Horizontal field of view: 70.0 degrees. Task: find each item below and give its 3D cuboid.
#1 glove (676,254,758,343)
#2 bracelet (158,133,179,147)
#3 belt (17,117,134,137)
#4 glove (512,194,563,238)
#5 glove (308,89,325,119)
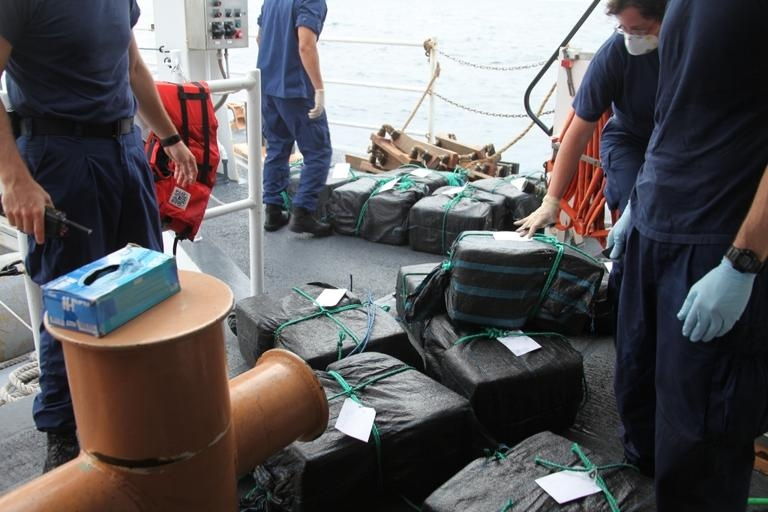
[{"bbox_3d":[1.164,0.156,1.923,0.171,0.295,0.120,23,33,28],"label":"glove"},{"bbox_3d":[-1.119,-0.599,2.856,0.070,0.036,0.071,-11,21,10],"label":"bracelet"},{"bbox_3d":[-1.319,-0.553,2.358,0.415,0.085,0.083,-8,31,-25],"label":"belt"},{"bbox_3d":[0.840,-0.196,3.030,0.236,0.253,0.364,0,-8,-4],"label":"glove"},{"bbox_3d":[-0.625,-1.417,5.087,0.141,0.283,0.178,0,29,-12],"label":"glove"}]
